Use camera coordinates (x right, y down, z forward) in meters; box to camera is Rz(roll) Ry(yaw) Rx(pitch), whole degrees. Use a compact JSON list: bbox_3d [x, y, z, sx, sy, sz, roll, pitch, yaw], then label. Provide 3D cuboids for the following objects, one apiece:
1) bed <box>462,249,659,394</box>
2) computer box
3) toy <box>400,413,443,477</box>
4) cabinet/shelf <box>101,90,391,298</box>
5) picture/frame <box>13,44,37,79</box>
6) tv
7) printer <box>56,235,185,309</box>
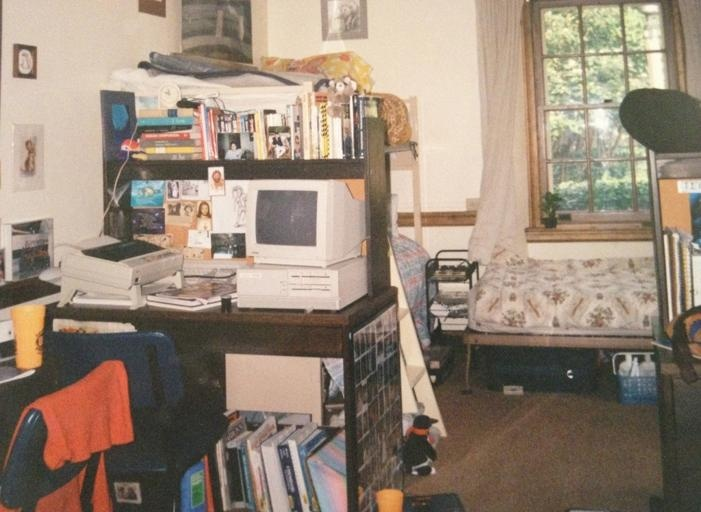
[{"bbox_3d":[1.462,0.324,4.414,1.132,0.477,1.130,0,13,16],"label":"bed"},{"bbox_3d":[-0.202,0.136,2.890,0.616,0.204,0.267,-1,11,-10],"label":"computer box"},{"bbox_3d":[0.391,1.040,3.536,0.188,0.276,0.251,2,11,8],"label":"toy"},{"bbox_3d":[-0.526,-0.295,3.208,1.132,0.657,0.371,-1,1,7],"label":"cabinet/shelf"},{"bbox_3d":[-1.642,-0.980,3.201,0.036,0.140,0.156,5,10,20],"label":"picture/frame"},{"bbox_3d":[-0.231,-0.152,2.884,0.431,0.320,0.422,1,4,19],"label":"tv"},{"bbox_3d":[-1.116,0.061,3.070,0.337,0.231,0.436,2,8,12],"label":"printer"}]
